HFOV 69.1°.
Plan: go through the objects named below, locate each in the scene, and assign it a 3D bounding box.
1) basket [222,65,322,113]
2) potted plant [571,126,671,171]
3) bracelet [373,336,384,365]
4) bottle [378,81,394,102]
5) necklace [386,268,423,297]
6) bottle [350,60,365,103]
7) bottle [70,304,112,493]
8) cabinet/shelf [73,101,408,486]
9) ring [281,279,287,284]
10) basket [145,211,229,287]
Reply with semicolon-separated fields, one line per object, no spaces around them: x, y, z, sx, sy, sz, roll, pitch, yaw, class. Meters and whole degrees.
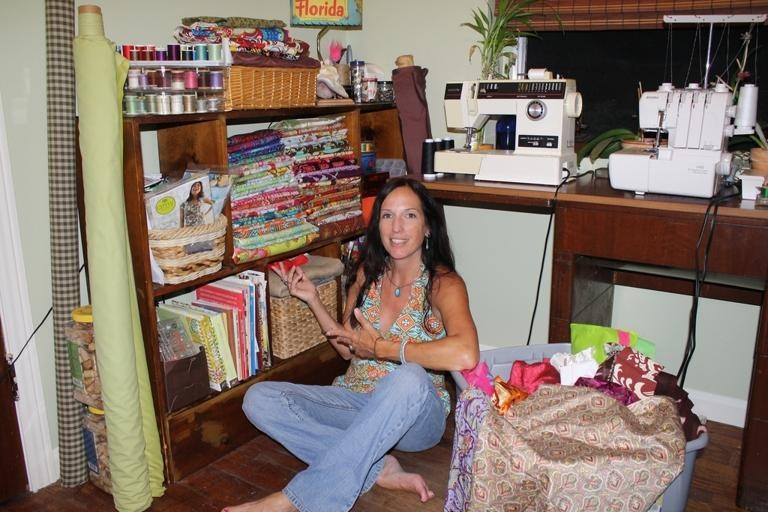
-0.572;-0.772;2.655;0.232;0.141;0.348;12;15;40;basket
1.239;-0.551;2.890;0.330;0.217;0.534;-7;18;-15;potted plant
-0.028;0.371;2.271;0.038;0.089;0.027;-10;19;-25;bracelet
0.002;-0.950;3.193;0.105;0.120;0.107;3;13;15;bottle
0.088;0.120;2.446;0.159;0.059;0.121;1;38;43;necklace
-0.150;-0.972;3.087;0.084;0.220;0.103;-3;17;-2;bottle
-1.253;0.631;2.394;0.133;0.807;0.207;-12;19;-29;bottle
-0.679;0.200;2.464;0.475;1.438;1.507;8;18;43;cabinet/shelf
-0.487;0.121;2.703;0.029;0.013;0.041;10;1;8;ring
-0.833;-0.036;2.397;0.235;0.181;0.288;10;19;36;basket
